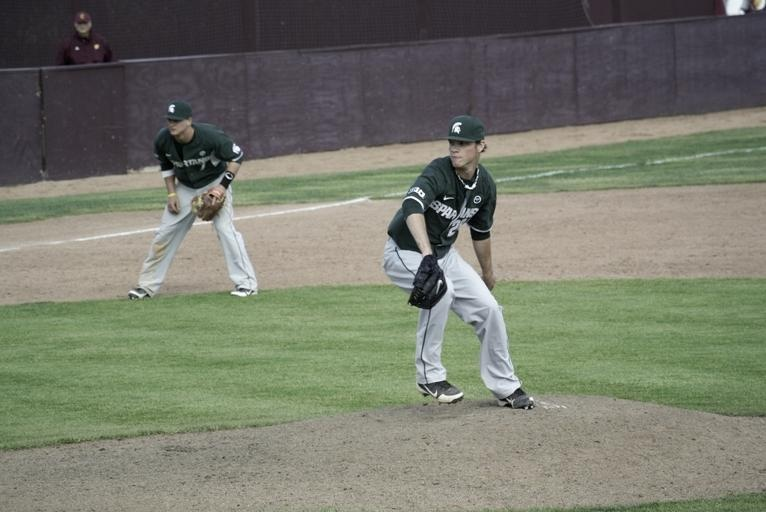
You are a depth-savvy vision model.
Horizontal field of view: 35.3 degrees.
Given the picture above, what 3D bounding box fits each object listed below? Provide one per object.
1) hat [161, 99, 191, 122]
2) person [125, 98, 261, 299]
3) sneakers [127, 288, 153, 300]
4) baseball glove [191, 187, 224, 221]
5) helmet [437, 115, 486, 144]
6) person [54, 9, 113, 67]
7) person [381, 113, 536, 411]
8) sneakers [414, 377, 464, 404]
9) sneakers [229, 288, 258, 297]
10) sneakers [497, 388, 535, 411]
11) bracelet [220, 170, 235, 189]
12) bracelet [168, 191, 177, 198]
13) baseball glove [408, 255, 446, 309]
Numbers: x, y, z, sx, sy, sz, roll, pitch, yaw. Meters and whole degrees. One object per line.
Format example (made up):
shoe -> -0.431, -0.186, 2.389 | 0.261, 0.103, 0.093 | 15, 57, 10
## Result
hat -> -2.674, -1.916, 15.895 | 0.262, 0.192, 0.363 | 12, 16, 22
person -> -2.590, -0.738, 16.256 | 1.518, 2.685, 0.639 | -6, 10, -6
sneakers -> -3.320, 0.528, 16.434 | 0.343, 0.135, 0.133 | 16, -5, -38
baseball glove -> -2.335, -0.676, 16.180 | 0.456, 0.335, 0.212 | -41, -10, -11
helmet -> 0.905, -1.386, 13.280 | 0.365, 0.285, 0.339 | -3, 9, 6
person -> -5.545, -4.076, 22.758 | 0.965, 0.921, 1.088 | 3, 12, 39
person -> 0.752, 0.069, 13.330 | 1.411, 3.155, 0.936 | -5, 10, -1
sneakers -> 0.628, 1.470, 13.483 | 0.608, 0.283, 0.210 | 4, 29, 26
sneakers -> -1.924, 0.495, 16.507 | 0.361, 0.140, 0.129 | 3, 6, -10
sneakers -> 1.450, 1.565, 13.183 | 0.366, 0.155, 0.197 | -3, -3, 35
bracelet -> -2.126, -1.020, 16.214 | 0.154, 0.229, 0.277 | -1, 10, 19
bracelet -> -2.831, -0.829, 16.232 | 0.109, 0.069, 0.106 | -7, 10, -20
baseball glove -> 0.464, 0.315, 13.034 | 0.451, 0.526, 0.252 | -14, -30, 32
